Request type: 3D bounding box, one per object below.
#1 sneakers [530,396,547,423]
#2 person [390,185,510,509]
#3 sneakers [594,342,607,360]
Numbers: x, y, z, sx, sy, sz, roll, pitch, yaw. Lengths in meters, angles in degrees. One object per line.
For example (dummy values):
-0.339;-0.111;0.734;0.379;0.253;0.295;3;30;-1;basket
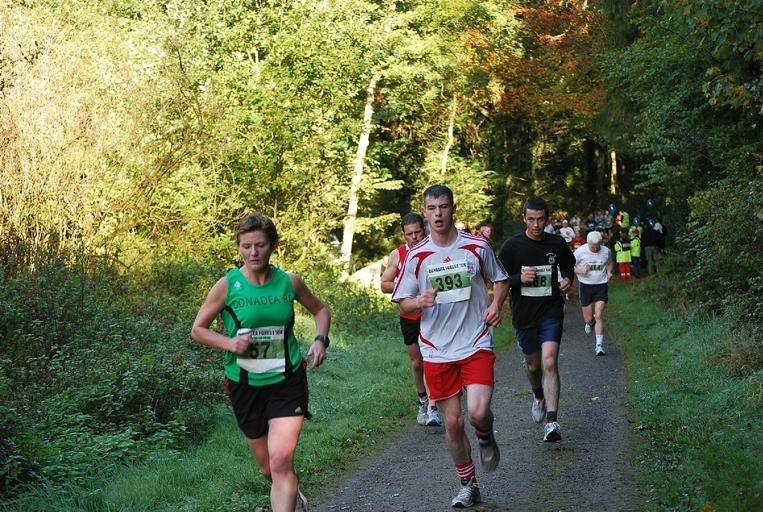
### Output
2.250;2.199;10.014;0.126;0.419;0.158;-1;4;11;sneakers
0.861;1.016;7.987;1.172;3.625;0.695;-3;7;7;person
4.627;1.975;14.764;0.149;0.176;0.368;-2;-1;4;sneakers
